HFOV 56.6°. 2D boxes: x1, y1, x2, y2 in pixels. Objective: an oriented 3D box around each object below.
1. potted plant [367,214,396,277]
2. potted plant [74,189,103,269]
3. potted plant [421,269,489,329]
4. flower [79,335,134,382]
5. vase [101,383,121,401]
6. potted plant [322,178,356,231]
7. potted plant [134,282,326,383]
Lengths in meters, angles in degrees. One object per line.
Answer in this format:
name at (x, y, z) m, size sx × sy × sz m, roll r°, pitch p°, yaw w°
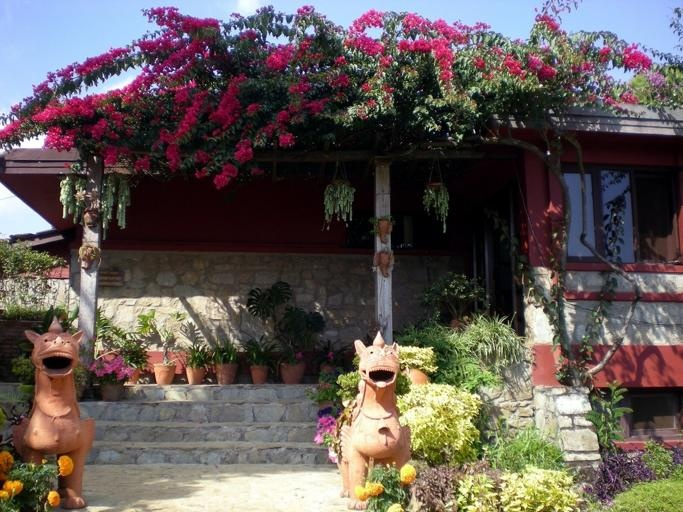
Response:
potted plant at (0.552, -0.115, 8.471) m, size 0.248 × 0.816 × 0.207 m, roll 0°, pitch -8°, yaw 2°
potted plant at (-3.388, -0.351, 8.467) m, size 0.330 × 1.065 × 0.229 m, roll 4°, pitch -9°, yaw -26°
potted plant at (1.789, 0.657, 10.078) m, size 0.837 × 0.972 × 0.845 m, roll -1°, pitch -2°, yaw 24°
flower at (-3.228, 1.516, 8.773) m, size 0.626 × 0.457 × 1.036 m, roll 4°, pitch -10°, yaw -20°
vase at (-3.061, 1.823, 8.472) m, size 0.222 × 0.174 × 0.242 m, roll -3°, pitch -13°, yaw 12°
potted plant at (-0.024, -0.782, 8.759) m, size 0.535 × 0.796 × 0.610 m, roll 5°, pitch -22°, yaw -2°
potted plant at (-1.446, 1.175, 10.129) m, size 2.259 × 0.945 × 1.605 m, roll -1°, pitch -8°, yaw 0°
